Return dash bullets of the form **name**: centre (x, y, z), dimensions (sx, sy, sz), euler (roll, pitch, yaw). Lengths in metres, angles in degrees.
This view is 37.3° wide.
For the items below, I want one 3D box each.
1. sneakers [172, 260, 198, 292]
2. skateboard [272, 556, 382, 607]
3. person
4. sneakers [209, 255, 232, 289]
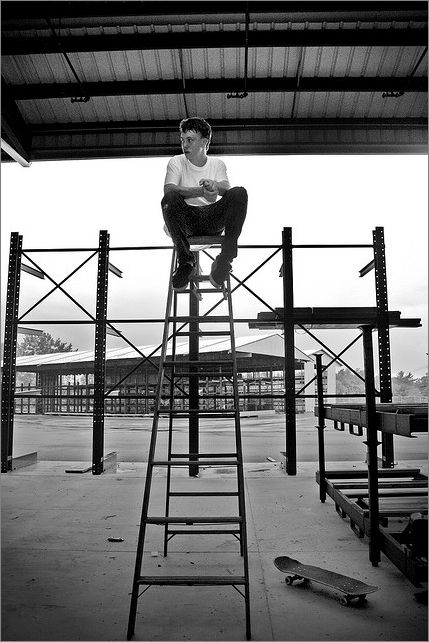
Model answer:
- **sneakers**: centre (-0.230, -0.333, 4.747), dimensions (0.176, 0.217, 0.451), euler (1, -9, -4)
- **skateboard**: centre (0.599, 1.448, 3.575), dimensions (0.181, 0.131, 0.648), euler (10, -13, -33)
- **person**: centre (-0.084, -0.919, 4.854), dimensions (0.652, 1.381, 0.589), euler (1, -8, -5)
- **sneakers**: centre (0.044, -0.362, 4.801), dimensions (0.088, 0.137, 0.317), euler (14, -46, 1)
